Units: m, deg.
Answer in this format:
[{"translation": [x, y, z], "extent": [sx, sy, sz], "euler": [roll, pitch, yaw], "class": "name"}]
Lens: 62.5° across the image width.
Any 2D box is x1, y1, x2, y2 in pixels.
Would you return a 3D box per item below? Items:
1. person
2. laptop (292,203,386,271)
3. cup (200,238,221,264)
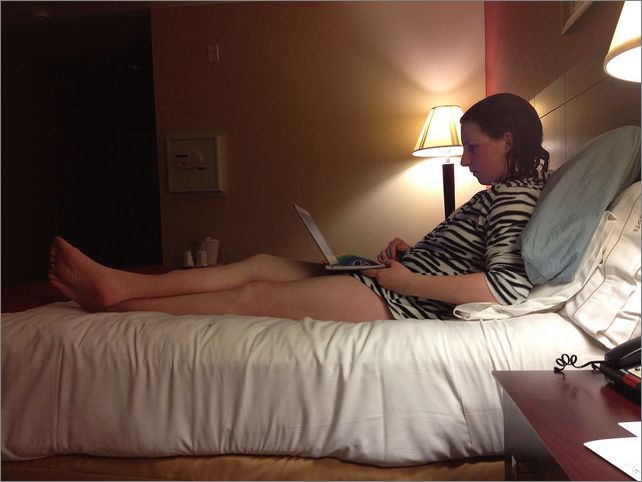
[{"translation": [-0.059, -0.099, 1.975], "extent": [1.736, 1.039, 0.846], "euler": [4, -6, 4], "class": "person"}, {"translation": [0.062, -0.064, 1.800], "extent": [0.226, 0.174, 0.261], "euler": [5, 9, -18], "class": "laptop"}, {"translation": [-0.670, 0.073, 3.238], "extent": [0.125, 0.203, 0.129], "euler": [-2, -11, 0], "class": "cup"}]
